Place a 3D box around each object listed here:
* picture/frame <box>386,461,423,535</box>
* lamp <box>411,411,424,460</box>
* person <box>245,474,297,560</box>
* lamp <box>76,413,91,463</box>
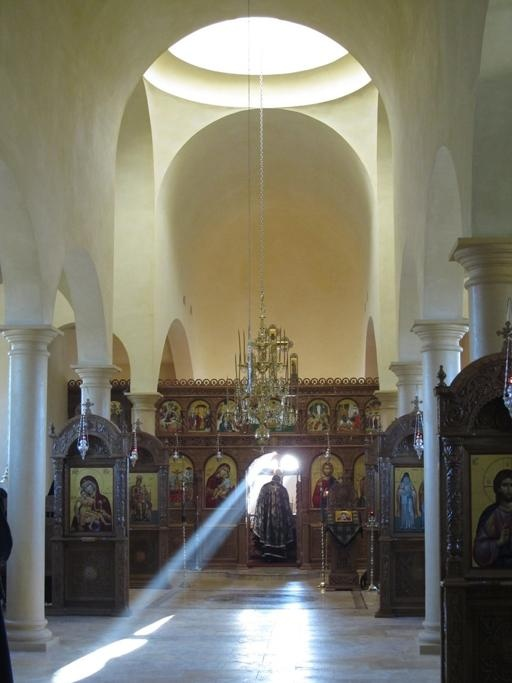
[{"bbox_3d":[1.828,1.976,10.983,0.395,0.857,0.070,-2,-1,17],"label":"picture/frame"},{"bbox_3d":[1.967,1.133,10.916,0.206,0.618,0.228,2,22,15],"label":"lamp"},{"bbox_3d":[0.362,3.569,18.268,0.938,1.825,0.660,2,12,2],"label":"person"},{"bbox_3d":[-2.138,1.178,11.035,0.143,0.567,0.669,2,-8,-10],"label":"lamp"}]
